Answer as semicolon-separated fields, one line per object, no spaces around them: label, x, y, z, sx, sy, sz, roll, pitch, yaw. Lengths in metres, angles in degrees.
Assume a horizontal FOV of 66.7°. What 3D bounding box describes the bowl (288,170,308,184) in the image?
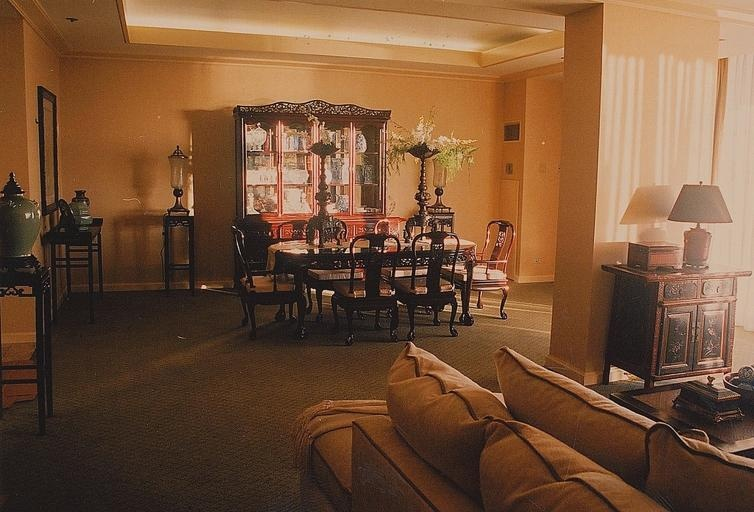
bowl;-1.098;-1.080;7.812;0.215;0.137;0.208;-1;8;0

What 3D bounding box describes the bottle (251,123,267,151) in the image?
bottle;-1.551;-1.575;7.565;0.184;0.335;0.041;-3;14;-16

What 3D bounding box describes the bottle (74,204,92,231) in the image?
bottle;-3.366;-0.443;6.555;0.322;0.293;0.232;4;5;41

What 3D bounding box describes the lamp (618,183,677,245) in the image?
lamp;2.350;-0.300;4.874;0.511;0.499;0.494;1;-8;7

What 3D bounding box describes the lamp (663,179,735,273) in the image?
lamp;2.620;-0.240;4.681;0.432;0.697;0.354;8;15;26

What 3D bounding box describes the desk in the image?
desk;-3.396;0.144;6.346;0.415;0.788;1.240;1;5;-15

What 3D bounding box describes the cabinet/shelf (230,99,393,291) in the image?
cabinet/shelf;-0.956;-0.955;8.089;2.440;2.298;0.602;-6;14;-34

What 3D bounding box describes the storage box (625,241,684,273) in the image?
storage box;2.311;0.001;4.769;0.300;0.180;0.290;0;5;-8

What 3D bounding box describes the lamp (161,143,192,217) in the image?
lamp;-2.628;-0.993;7.605;0.303;0.925;0.538;-3;14;-18

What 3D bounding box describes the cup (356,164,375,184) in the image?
cup;-0.172;-1.115;8.140;0.356;0.337;0.246;-1;4;-18

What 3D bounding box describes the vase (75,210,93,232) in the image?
vase;-3.366;-0.391;6.565;0.193;0.225;0.244;-2;4;-38

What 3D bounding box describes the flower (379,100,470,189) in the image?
flower;0.527;-1.319;7.006;0.763;0.620;0.698;-6;13;-22
